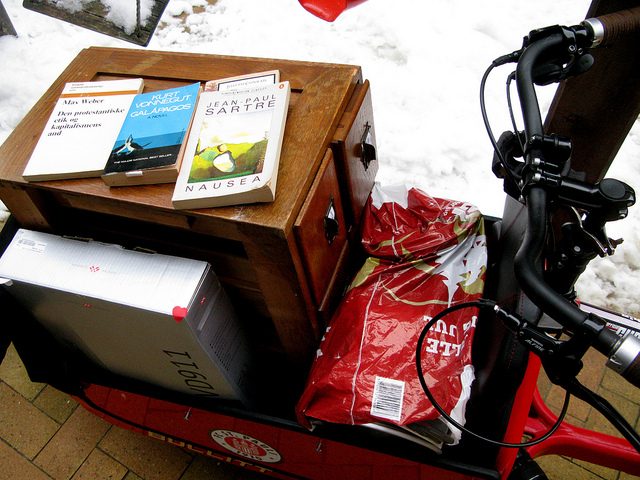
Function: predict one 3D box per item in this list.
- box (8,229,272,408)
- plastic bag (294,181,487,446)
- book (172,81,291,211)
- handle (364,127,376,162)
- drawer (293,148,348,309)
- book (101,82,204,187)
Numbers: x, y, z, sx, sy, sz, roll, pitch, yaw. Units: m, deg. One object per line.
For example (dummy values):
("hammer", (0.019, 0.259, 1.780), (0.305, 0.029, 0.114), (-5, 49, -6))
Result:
("box", (-0.683, 0.286, 1.948), (0.726, 0.679, 0.263), (13, 54, 17))
("plastic bag", (0.344, 0.246, 1.977), (0.620, 0.345, 1.080), (13, 48, 19))
("book", (-0.297, -0.332, 1.741), (0.334, 0.253, 0.462), (5, 47, 2))
("handle", (0.209, -0.391, 2.052), (0.062, 0.108, 0.107), (-1, 82, 9))
("drawer", (0.019, -0.043, 1.850), (0.110, 0.485, 0.366), (16, 48, 13))
("book", (-0.577, -0.385, 1.787), (0.285, 0.092, 0.385), (1, 55, 18))
